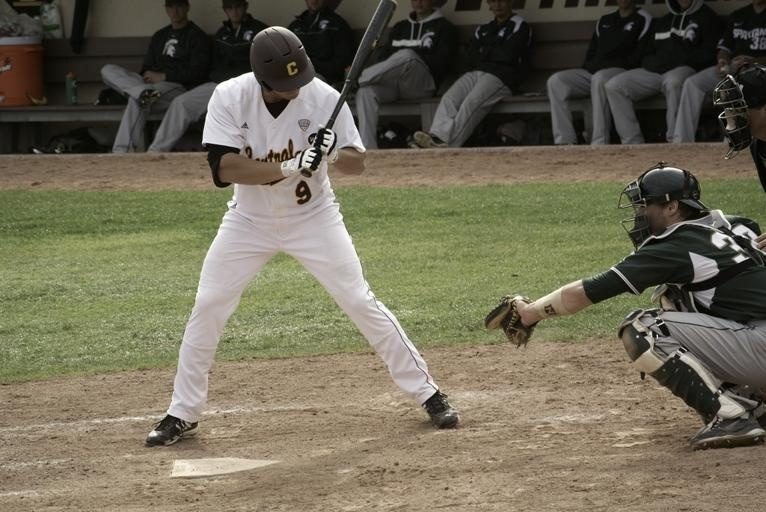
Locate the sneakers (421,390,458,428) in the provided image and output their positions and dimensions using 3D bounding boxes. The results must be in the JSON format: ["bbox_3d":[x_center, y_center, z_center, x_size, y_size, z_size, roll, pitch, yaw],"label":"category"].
[{"bbox_3d":[0.345,0.977,6.929,0.136,0.146,0.339,-45,23,-4],"label":"sneakers"}]

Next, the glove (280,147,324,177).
[{"bbox_3d":[-0.497,-0.575,6.553,0.237,0.173,0.165,1,5,13],"label":"glove"}]

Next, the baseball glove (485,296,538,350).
[{"bbox_3d":[0.880,0.430,6.839,0.187,0.271,0.392,27,-36,-35],"label":"baseball glove"}]

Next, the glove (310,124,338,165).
[{"bbox_3d":[-0.379,-0.698,6.603,0.204,0.196,0.106,5,-1,-33],"label":"glove"}]
